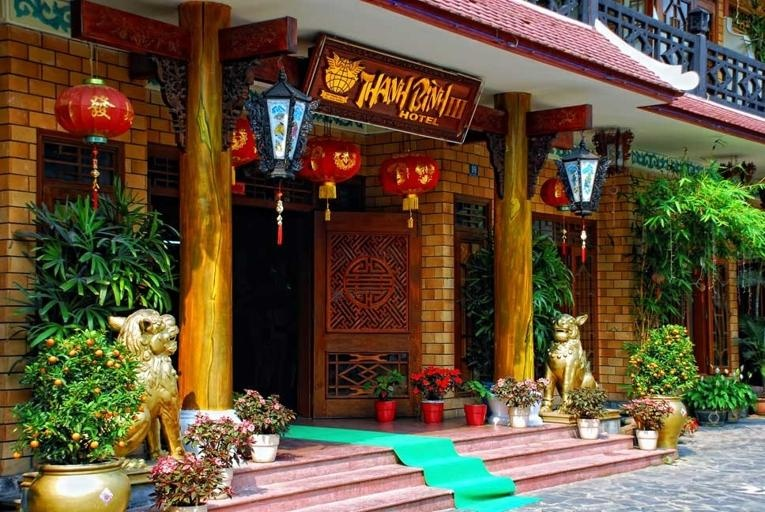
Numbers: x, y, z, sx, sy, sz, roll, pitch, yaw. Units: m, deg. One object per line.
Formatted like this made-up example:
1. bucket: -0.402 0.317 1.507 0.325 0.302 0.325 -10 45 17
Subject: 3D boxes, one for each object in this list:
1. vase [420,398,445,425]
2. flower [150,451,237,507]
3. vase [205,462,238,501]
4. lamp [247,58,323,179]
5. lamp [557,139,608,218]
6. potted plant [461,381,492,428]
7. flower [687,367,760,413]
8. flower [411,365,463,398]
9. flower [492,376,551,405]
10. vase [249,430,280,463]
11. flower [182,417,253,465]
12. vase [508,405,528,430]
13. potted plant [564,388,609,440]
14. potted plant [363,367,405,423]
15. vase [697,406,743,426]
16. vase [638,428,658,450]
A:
1. vase: 0.598 1.868 8.165 0.264 0.197 0.258 3 -10 -17
2. flower: -1.363 1.586 4.825 0.430 0.306 0.444 0 0 42
3. vase: -1.214 1.720 5.201 0.265 0.223 0.291 1 -6 0
4. lamp: -0.889 -1.087 5.809 0.547 0.838 0.232 -1 -8 -11
5. lamp: 2.415 -0.951 8.239 0.590 0.842 0.632 -2 0 20
6. potted plant: 1.132 1.787 8.231 0.543 0.560 0.449 1 -7 -1
7. flower: 5.365 2.268 10.689 1.031 0.587 1.055 -1 15 21
8. flower: 0.631 1.528 8.151 0.588 0.401 0.276 -2 -8 1
9. flower: 1.573 1.520 7.937 0.419 0.239 0.403 2 -1 -44
10. vase: -1.015 1.631 5.835 0.246 0.180 0.239 6 -10 -32
11. flower: -1.290 1.415 5.329 0.465 0.318 0.455 17 -2 -25
12. vase: 1.572 1.875 7.874 0.235 0.174 0.224 -3 -7 22
13. potted plant: 2.509 1.855 8.257 0.631 0.648 0.519 3 -6 -35
14. potted plant: 0.080 1.701 8.378 0.629 0.621 0.489 1 -1 17
15. vase: 5.264 2.526 10.637 0.558 0.200 0.498 -1 -5 -4
16. vase: 3.182 2.199 8.179 0.232 0.178 0.230 -5 -9 40
